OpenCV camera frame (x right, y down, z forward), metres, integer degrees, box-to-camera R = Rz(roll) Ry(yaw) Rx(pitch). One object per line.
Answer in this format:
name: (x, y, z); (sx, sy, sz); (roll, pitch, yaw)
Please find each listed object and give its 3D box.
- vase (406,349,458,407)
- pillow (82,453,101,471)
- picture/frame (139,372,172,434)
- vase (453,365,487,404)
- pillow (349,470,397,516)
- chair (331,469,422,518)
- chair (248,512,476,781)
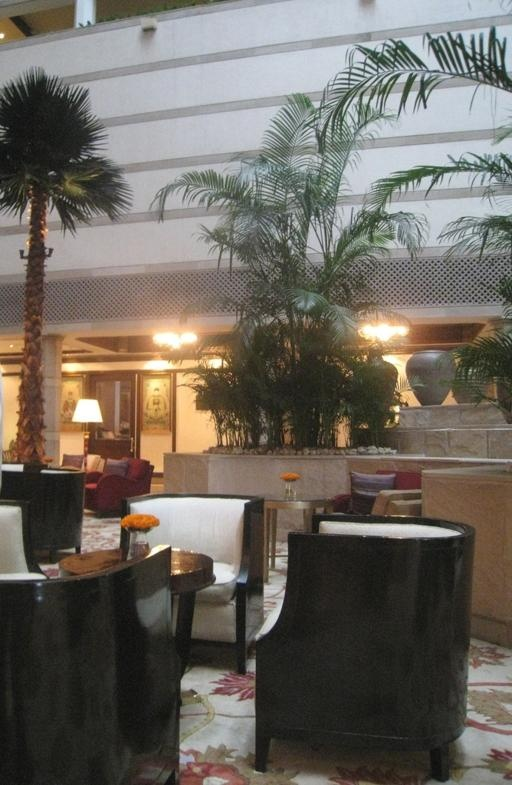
vase: (2.148, -0.180, 8.390); (0.557, 0.659, 0.833); (1, 0, 14)
pillow: (-2.461, 1.034, 10.014); (0.281, 0.261, 0.280); (0, -4, 8)
picture/frame: (-1.893, 0.232, 12.667); (0.666, 1.073, 0.127); (1, 0, 30)
vase: (1.307, -0.029, 4.167); (0.179, 0.196, 0.780); (1, 0, 17)
pillow: (0.883, 0.814, 5.373); (0.357, 0.311, 0.658); (1, 0, 24)
chair: (0.940, 0.784, 5.467); (0.489, 0.456, 0.495); (-5, -15, 35)
chair: (0.374, 0.770, 2.355); (0.700, 0.777, 0.711); (1, -6, 15)
